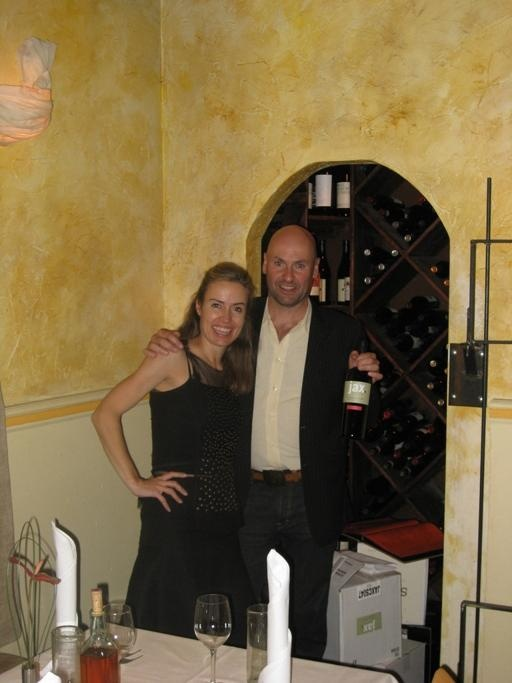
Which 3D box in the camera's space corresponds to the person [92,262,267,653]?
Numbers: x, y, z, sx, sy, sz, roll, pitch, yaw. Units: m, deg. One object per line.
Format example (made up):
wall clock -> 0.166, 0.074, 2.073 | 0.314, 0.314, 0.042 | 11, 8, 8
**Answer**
person -> -0.228, 0.340, 2.365 | 0.340, 1.218, 0.536 | -3, -3, 45
